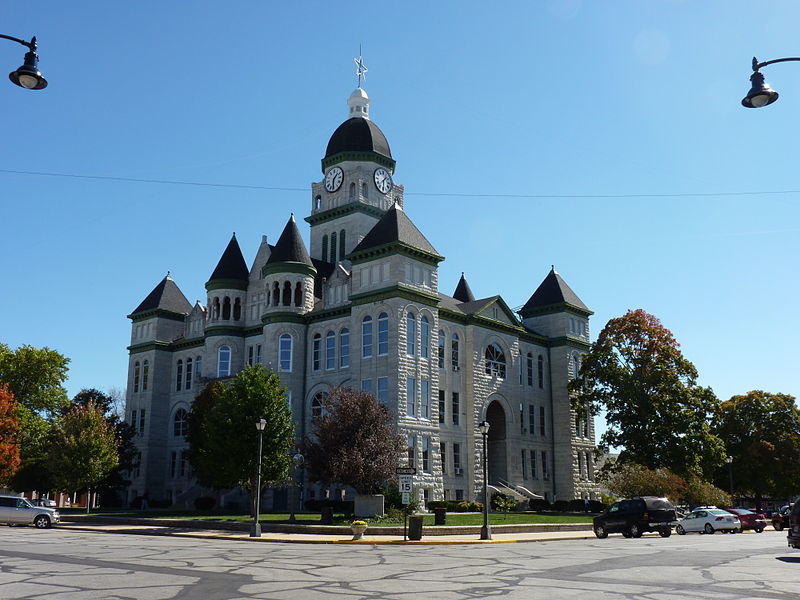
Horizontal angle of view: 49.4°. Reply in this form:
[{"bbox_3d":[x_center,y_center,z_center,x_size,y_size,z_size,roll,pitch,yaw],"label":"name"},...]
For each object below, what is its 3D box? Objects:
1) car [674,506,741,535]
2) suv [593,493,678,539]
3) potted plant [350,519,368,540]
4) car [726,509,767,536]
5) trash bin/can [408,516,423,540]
[{"bbox_3d":[18.277,12.956,51.236,1.706,1.127,3.326,7,-12,-32],"label":"car"},{"bbox_3d":[12.424,11.346,46.025,2.084,1.824,4.169,9,-14,-38],"label":"suv"},{"bbox_3d":[-1.955,11.165,42.562,0.847,0.735,0.865,-9,-26,24],"label":"potted plant"},{"bbox_3d":[21.393,13.636,53.418,1.436,1.060,3.209,-3,-7,8],"label":"car"},{"bbox_3d":[0.775,10.917,42.048,0.697,1.218,1.134,0,-18,-4],"label":"trash bin/can"}]
